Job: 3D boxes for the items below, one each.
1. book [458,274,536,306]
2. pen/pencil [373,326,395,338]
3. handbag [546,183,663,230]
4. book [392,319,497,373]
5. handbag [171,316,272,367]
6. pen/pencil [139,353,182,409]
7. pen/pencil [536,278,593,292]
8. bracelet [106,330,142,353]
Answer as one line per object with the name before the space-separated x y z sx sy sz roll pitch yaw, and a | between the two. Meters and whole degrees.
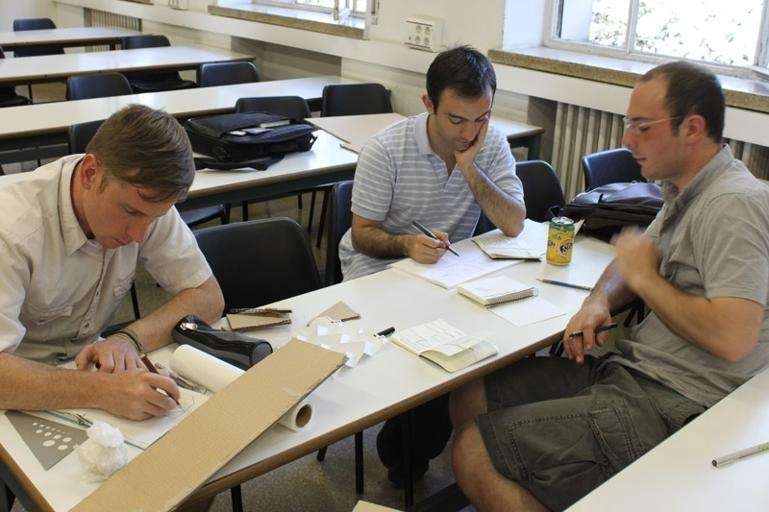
book | 0.405 0.123 2.108 0.142 0.034 0.145 -14 22 -34
pen/pencil | 0.004 0.249 1.902 0.028 0.020 0.108 -25 -10 35
handbag | 1.067 -0.231 2.655 0.322 0.094 0.309 -11 19 -17
book | 0.192 0.276 1.887 0.299 0.067 0.312 -6 16 -25
handbag | -0.508 0.264 1.828 0.265 0.101 0.147 22 14 19
pen/pencil | -0.632 0.357 1.643 0.028 0.026 0.182 -34 57 -23
pen/pencil | 0.677 0.110 2.203 0.139 0.014 0.015 13 25 15
bracelet | -0.798 0.252 1.789 0.079 0.078 0.055 12 8 21
